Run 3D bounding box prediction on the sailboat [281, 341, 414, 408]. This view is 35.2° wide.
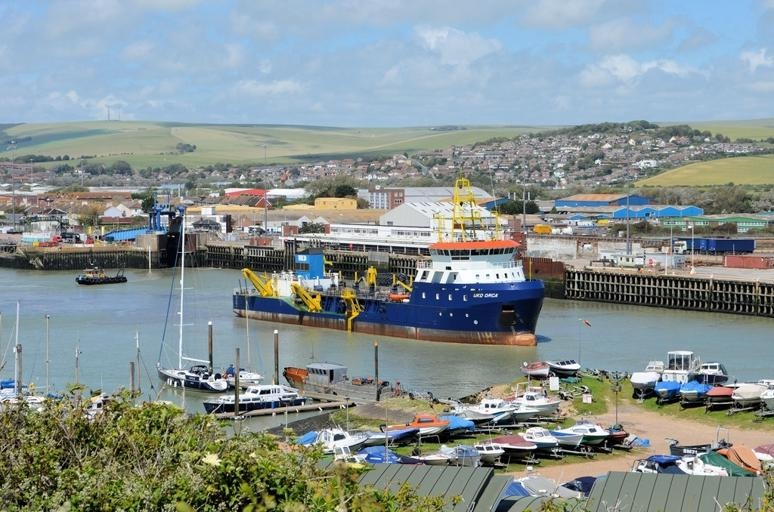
[{"bbox_3d":[-1.791,6.109,59.042,7.787,2.697,2.343,2,6,35],"label":"sailboat"}]

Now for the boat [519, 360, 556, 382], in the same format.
[{"bbox_3d":[7.184,5.548,59.764,0.632,0.597,1.899,-4,6,-31],"label":"boat"}]

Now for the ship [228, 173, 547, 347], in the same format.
[{"bbox_3d":[-0.358,0.598,74.400,20.579,7.909,7.490,2,7,36],"label":"ship"}]

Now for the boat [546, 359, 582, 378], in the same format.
[{"bbox_3d":[8.417,5.485,59.352,0.717,0.452,1.628,-4,2,-26],"label":"boat"}]

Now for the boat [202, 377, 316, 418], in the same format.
[{"bbox_3d":[-5.895,6.550,56.566,5.150,1.198,1.623,0,-1,-20],"label":"boat"}]
